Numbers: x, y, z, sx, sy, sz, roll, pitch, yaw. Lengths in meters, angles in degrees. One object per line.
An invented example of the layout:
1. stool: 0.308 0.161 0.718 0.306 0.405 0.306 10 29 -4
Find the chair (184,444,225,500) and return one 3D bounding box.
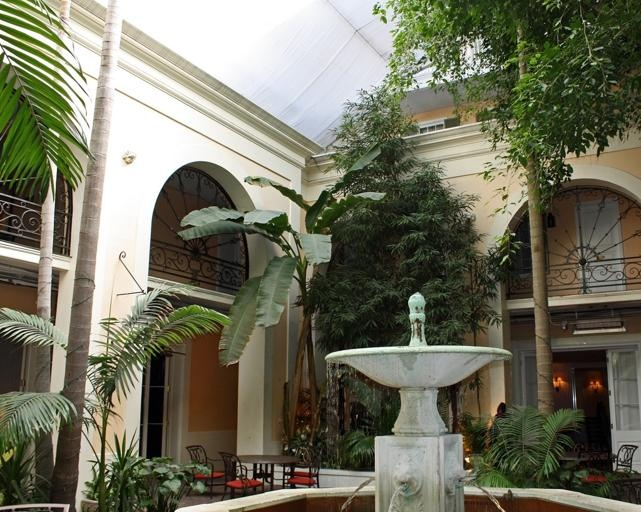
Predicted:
1. chair: -1.777 3.315 8.840 0.464 0.753 0.466 -10 -16 18
